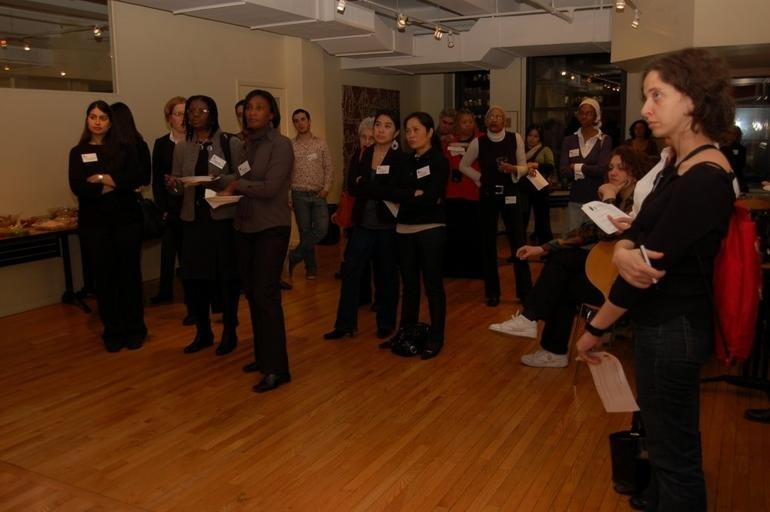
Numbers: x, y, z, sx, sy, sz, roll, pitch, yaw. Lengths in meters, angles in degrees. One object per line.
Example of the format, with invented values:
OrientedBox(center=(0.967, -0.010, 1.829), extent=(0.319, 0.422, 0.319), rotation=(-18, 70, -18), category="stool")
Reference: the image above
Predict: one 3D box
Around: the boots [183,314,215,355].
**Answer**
OrientedBox(center=(-1.807, 0.768, 5.549), extent=(0.400, 0.393, 0.188), rotation=(-11, -2, 10), category="boots")

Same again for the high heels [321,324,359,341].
OrientedBox(center=(-0.459, 0.786, 5.830), extent=(0.311, 0.135, 0.145), rotation=(2, 5, -14), category="high heels")

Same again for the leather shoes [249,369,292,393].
OrientedBox(center=(-0.957, 1.046, 4.740), extent=(0.329, 0.141, 0.123), rotation=(-2, 8, -36), category="leather shoes")

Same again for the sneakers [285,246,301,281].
OrientedBox(center=(-1.295, 0.140, 7.871), extent=(0.244, 0.582, 0.197), rotation=(7, 18, 2), category="sneakers")

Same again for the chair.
OrientedBox(center=(1.534, 0.342, 3.894), extent=(0.437, 0.645, 0.443), rotation=(0, -14, 10), category="chair")

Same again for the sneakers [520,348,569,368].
OrientedBox(center=(1.436, 0.918, 5.129), extent=(0.434, 0.179, 0.165), rotation=(3, 1, 13), category="sneakers")

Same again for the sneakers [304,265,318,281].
OrientedBox(center=(-1.069, 0.244, 8.126), extent=(0.199, 0.220, 0.518), rotation=(0, 1, -6), category="sneakers")

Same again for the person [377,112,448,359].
OrientedBox(center=(0.302, -0.025, 5.247), extent=(0.540, 1.902, 0.387), rotation=(1, 12, 9), category="person")

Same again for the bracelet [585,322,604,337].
OrientedBox(center=(0.974, 0.337, 2.647), extent=(0.077, 0.031, 0.075), rotation=(-8, 28, -44), category="bracelet")

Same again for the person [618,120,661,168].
OrientedBox(center=(4.025, -1.726, 8.899), extent=(0.672, 0.912, 0.532), rotation=(0, -3, 32), category="person")

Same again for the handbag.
OrientedBox(center=(1.458, 1.113, 3.337), extent=(0.217, 0.528, 0.185), rotation=(8, -10, 8), category="handbag")

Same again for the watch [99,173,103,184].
OrientedBox(center=(-2.599, -0.709, 5.174), extent=(0.048, 0.068, 0.033), rotation=(-6, 13, -21), category="watch")

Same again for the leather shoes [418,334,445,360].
OrientedBox(center=(0.424, 0.869, 5.315), extent=(0.114, 0.125, 0.314), rotation=(4, 7, 22), category="leather shoes")

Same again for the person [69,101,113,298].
OrientedBox(center=(-2.732, -0.550, 5.345), extent=(0.400, 1.780, 0.419), rotation=(-5, 12, -19), category="person")

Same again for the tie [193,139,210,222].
OrientedBox(center=(-1.616, -0.661, 4.961), extent=(0.155, 0.651, 0.232), rotation=(-3, 12, -12), category="tie")

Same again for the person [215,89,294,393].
OrientedBox(center=(-1.007, -0.133, 4.670), extent=(0.569, 2.411, 0.577), rotation=(-7, 13, -25), category="person")
